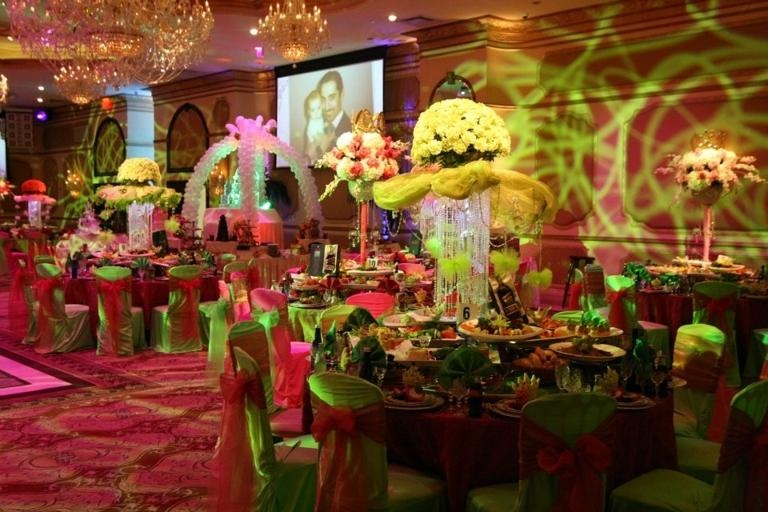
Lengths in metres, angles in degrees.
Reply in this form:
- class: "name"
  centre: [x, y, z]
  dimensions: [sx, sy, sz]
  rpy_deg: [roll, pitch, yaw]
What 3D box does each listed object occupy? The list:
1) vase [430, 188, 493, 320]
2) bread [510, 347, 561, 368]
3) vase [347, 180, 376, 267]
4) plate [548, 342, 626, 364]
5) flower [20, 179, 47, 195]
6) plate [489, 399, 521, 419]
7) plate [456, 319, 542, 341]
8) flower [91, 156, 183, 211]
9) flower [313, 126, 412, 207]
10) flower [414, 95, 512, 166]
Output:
- class: "vase"
  centre: [0.521, -0.017, 3.780]
  dimensions: [0.415, 0.863, 0.271]
  rpy_deg: [0, 8, 8]
- class: "bread"
  centre: [0.908, 0.610, 3.262]
  dimensions: [0.259, 0.105, 0.104]
  rpy_deg: [1, 8, 9]
- class: "vase"
  centre: [-0.229, -0.356, 6.087]
  dimensions: [0.310, 0.967, 0.306]
  rpy_deg: [5, 13, 10]
- class: "plate"
  centre: [1.232, 0.571, 3.315]
  dimensions: [0.431, 0.108, 0.295]
  rpy_deg: [3, 9, 23]
- class: "flower"
  centre: [-9.091, -1.826, 14.101]
  dimensions: [0.427, 0.356, 0.540]
  rpy_deg: [-4, 9, -21]
- class: "plate"
  centre: [0.647, 0.807, 2.930]
  dimensions: [0.169, 0.048, 0.209]
  rpy_deg: [1, 8, 11]
- class: "plate"
  centre: [0.737, 0.471, 3.458]
  dimensions: [0.541, 0.082, 0.269]
  rpy_deg: [1, 8, 9]
- class: "flower"
  centre: [-3.771, -1.139, 8.339]
  dimensions: [1.054, 0.776, 0.559]
  rpy_deg: [0, 8, 8]
- class: "flower"
  centre: [-0.225, -1.008, 6.002]
  dimensions: [0.870, 0.614, 0.868]
  rpy_deg: [-2, 13, 6]
- class: "flower"
  centre: [0.518, -0.867, 3.821]
  dimensions: [0.534, 0.539, 0.534]
  rpy_deg: [-1, 15, -3]
